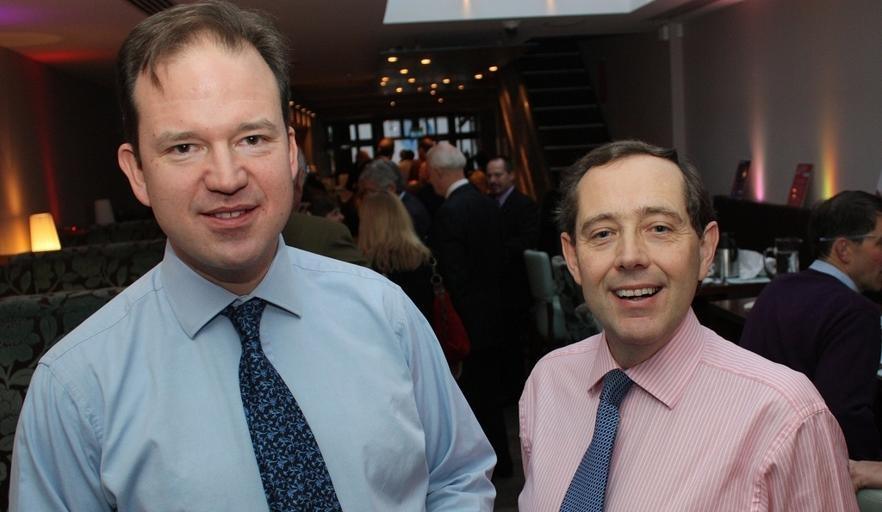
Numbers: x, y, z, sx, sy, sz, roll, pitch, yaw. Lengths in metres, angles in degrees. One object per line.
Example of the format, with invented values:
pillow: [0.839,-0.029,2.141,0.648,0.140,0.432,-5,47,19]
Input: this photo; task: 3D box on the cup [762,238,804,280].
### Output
cup: [2.466,0.033,4.609,0.170,0.277,0.277,9,-7,-35]

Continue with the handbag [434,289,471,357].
handbag: [0.062,0.412,4.172,0.219,0.516,0.196,-6,36,16]
